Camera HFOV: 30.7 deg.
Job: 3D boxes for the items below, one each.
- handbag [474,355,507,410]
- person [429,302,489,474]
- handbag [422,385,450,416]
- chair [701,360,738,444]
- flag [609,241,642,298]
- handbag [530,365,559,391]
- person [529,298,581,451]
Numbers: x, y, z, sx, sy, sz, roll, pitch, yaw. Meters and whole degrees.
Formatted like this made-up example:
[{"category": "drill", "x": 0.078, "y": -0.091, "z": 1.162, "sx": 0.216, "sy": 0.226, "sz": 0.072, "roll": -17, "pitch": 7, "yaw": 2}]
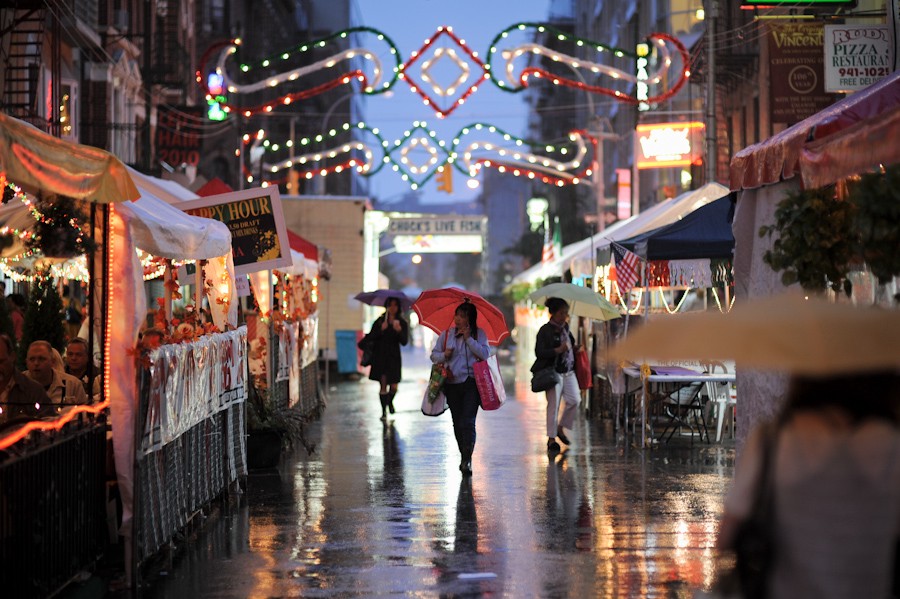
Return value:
[{"category": "handbag", "x": 0.546, "y": 1.218, "z": 23.396, "sx": 0.428, "sy": 0.864, "sz": 0.962, "roll": 0, "pitch": 8, "yaw": 1}, {"category": "person", "x": 0.202, "y": 1.251, "z": 23.361, "sx": 0.805, "sy": 2.325, "sz": 0.890, "roll": 6, "pitch": 10, "yaw": 38}, {"category": "handbag", "x": -0.244, "y": 1.472, "z": 23.589, "sx": 0.462, "sy": 0.566, "sz": 0.337, "roll": 2, "pitch": -7, "yaw": -17}, {"category": "chair", "x": 4.371, "y": 1.615, "z": 26.058, "sx": 0.687, "sy": 1.124, "sz": 0.680, "roll": 5, "pitch": -1, "yaw": -35}, {"category": "flag", "x": 2.901, "y": -0.514, "z": 27.168, "sx": 0.839, "sy": 0.870, "sz": 0.173, "roll": -4, "pitch": 10, "yaw": -36}, {"category": "handbag", "x": 1.470, "y": 1.274, "z": 25.014, "sx": 0.426, "sy": 0.332, "sz": 0.304, "roll": -23, "pitch": -39, "yaw": 30}, {"category": "person", "x": 1.616, "y": 1.169, "z": 25.205, "sx": 0.672, "sy": 2.328, "sz": 1.308, "roll": 2, "pitch": 8, "yaw": 16}]
